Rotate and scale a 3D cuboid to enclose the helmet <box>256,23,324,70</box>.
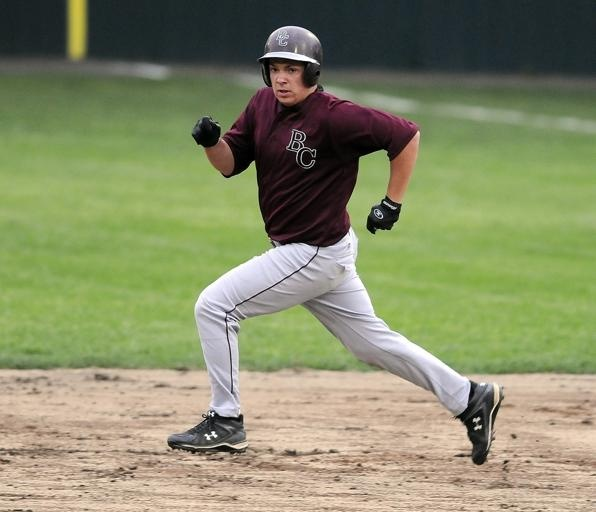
[{"bbox_3d":[-0.035,-1.154,5.863,0.365,0.173,0.410,2,3,11],"label":"helmet"}]

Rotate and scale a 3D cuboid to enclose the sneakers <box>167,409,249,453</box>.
[{"bbox_3d":[-0.518,0.989,5.947,0.530,0.210,0.185,6,-11,-38],"label":"sneakers"}]

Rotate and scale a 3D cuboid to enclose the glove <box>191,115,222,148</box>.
[{"bbox_3d":[-0.505,-0.680,5.848,0.156,0.179,0.178,3,14,-6],"label":"glove"}]

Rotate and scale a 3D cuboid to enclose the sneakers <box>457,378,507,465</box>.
[{"bbox_3d":[1.027,0.899,5.897,0.293,0.452,0.188,-2,10,-2],"label":"sneakers"}]

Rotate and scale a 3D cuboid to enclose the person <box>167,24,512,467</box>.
[{"bbox_3d":[0.177,-0.064,5.931,1.639,2.351,0.630,4,16,-2],"label":"person"}]
